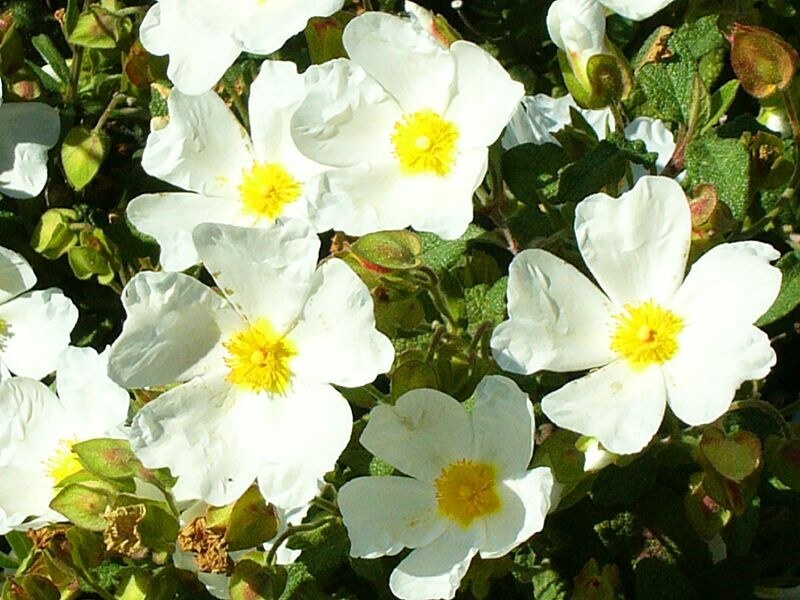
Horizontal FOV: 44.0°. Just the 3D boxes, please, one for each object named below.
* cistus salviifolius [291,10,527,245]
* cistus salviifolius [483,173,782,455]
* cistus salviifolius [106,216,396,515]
[{"bbox_3d":[-0.012,-0.250,1.499,0.327,0.129,0.350,28,79,10],"label":"cistus salviifolius"},{"bbox_3d":[0.335,0.031,1.419,0.382,0.131,0.372,34,81,11],"label":"cistus salviifolius"},{"bbox_3d":[-0.226,0.048,1.456,0.394,0.146,0.409,-37,33,-18],"label":"cistus salviifolius"}]
